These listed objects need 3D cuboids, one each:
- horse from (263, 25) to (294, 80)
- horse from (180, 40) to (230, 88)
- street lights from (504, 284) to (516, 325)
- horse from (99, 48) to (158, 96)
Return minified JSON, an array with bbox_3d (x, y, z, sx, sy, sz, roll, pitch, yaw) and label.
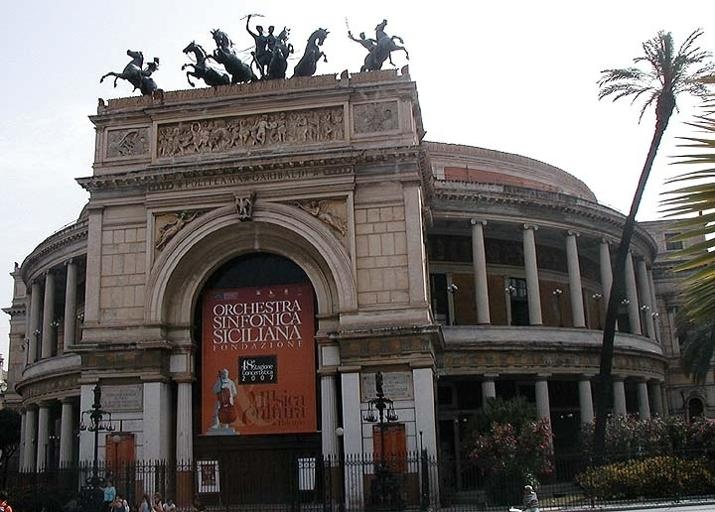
[{"bbox_3d":[-4.373,-11.012,39.228,1.420,3.544,0.819,-5,-17,1],"label":"horse"},{"bbox_3d":[-7.952,-10.194,39.678,3.740,2.348,0.935,14,17,-15],"label":"horse"},{"bbox_3d":[10.465,3.207,48.814,0.511,2.796,0.990,-14,-19,28],"label":"street lights"},{"bbox_3d":[-12.045,-10.058,40.357,3.722,2.457,0.974,26,-5,-36],"label":"horse"}]
